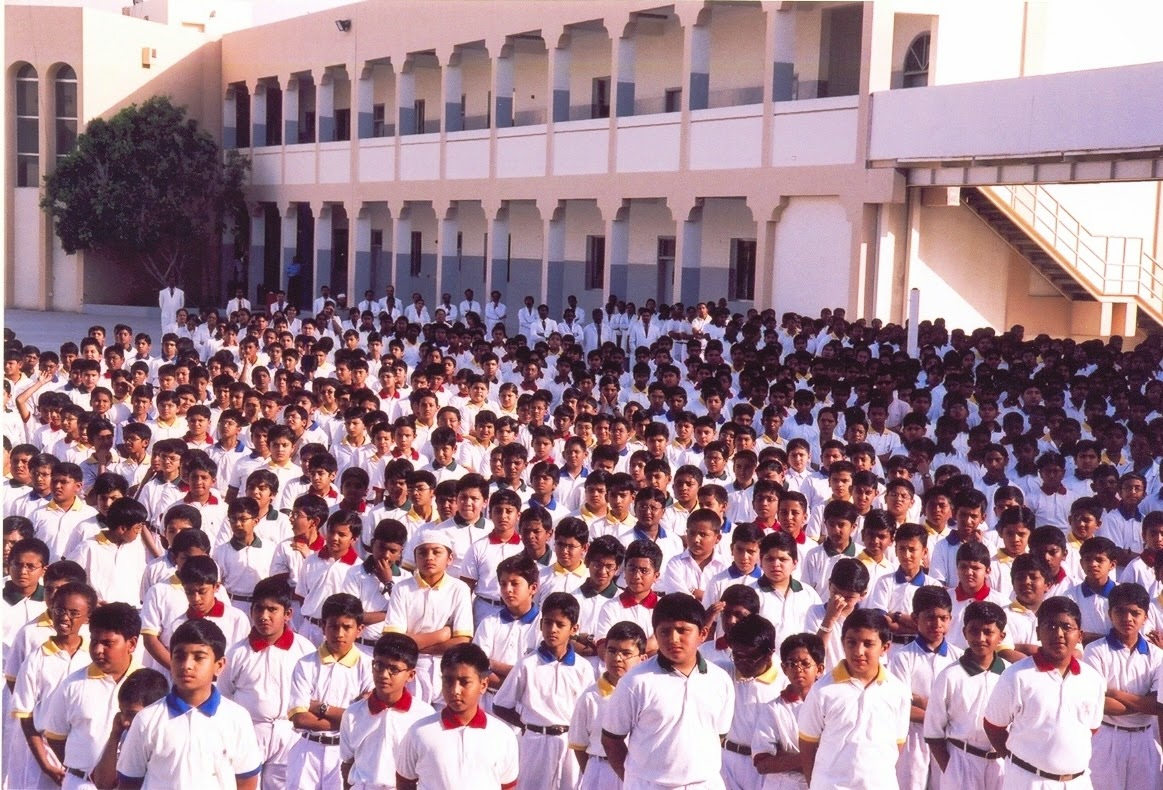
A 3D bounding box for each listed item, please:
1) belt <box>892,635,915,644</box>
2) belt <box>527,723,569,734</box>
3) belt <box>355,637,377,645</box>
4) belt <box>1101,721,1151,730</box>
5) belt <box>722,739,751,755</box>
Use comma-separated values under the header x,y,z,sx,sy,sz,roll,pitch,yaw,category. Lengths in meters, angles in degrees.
x,y,z,sx,sy,sz,roll,pitch,yaw,category
3.850,2.884,22.619,0.299,0.118,0.142,3,-1,41,belt
-0.412,3.864,22.126,0.466,0.131,0.097,4,-1,-6,belt
-2.577,2.948,22.825,0.217,0.127,0.089,3,-1,24,belt
6.406,3.879,22.338,0.556,0.093,0.029,4,-1,-1,belt
1.796,4.055,22.009,0.311,0.171,0.048,4,0,6,belt
